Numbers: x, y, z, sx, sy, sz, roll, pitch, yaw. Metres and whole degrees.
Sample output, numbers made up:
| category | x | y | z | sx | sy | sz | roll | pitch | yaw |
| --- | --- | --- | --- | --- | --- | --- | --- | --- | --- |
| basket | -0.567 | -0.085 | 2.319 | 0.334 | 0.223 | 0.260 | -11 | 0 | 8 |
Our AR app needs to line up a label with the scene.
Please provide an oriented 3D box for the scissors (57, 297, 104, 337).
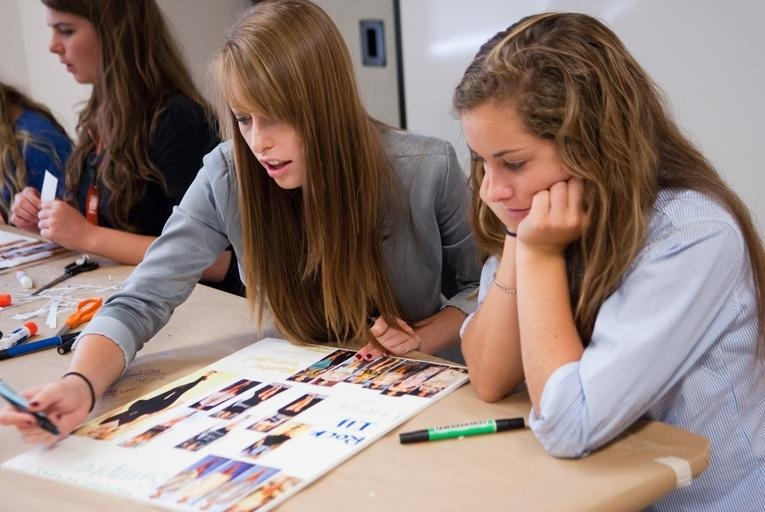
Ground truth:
| category | x | y | z | sx | sy | sz | roll | pitch | yaw |
| --- | --- | --- | --- | --- | --- | --- | --- | --- | --- |
| scissors | -0.745 | 0.138 | 1.466 | 0.049 | 0.034 | 0.177 | 7 | 20 | 12 |

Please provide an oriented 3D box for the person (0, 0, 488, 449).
| category | x | y | z | sx | sy | sz | roll | pitch | yaw |
| --- | --- | --- | --- | --- | --- | --- | --- | --- | --- |
| person | -0.226 | -0.171 | 1.502 | 0.637 | 0.840 | 1.185 | 7 | 23 | 43 |
